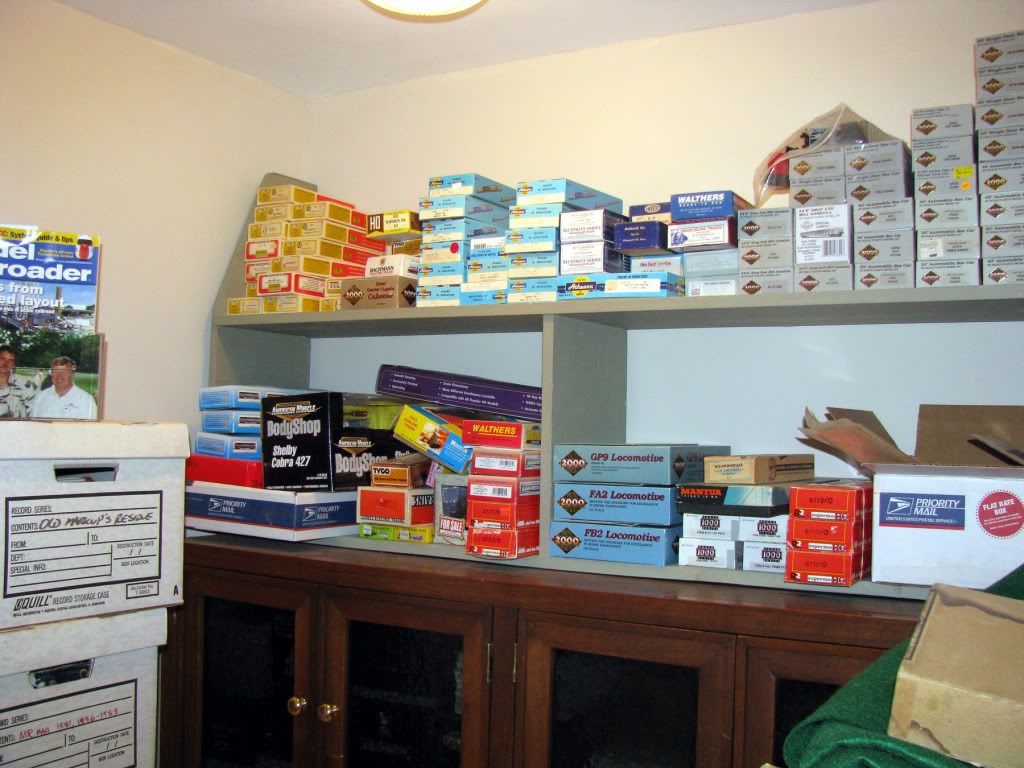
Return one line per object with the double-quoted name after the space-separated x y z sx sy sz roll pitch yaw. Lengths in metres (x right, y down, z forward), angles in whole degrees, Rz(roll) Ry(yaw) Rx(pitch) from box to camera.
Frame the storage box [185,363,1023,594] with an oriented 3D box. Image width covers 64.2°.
0.078 0.276 2.417 2.502 0.568 0.603 1 2 19 "storage box"
